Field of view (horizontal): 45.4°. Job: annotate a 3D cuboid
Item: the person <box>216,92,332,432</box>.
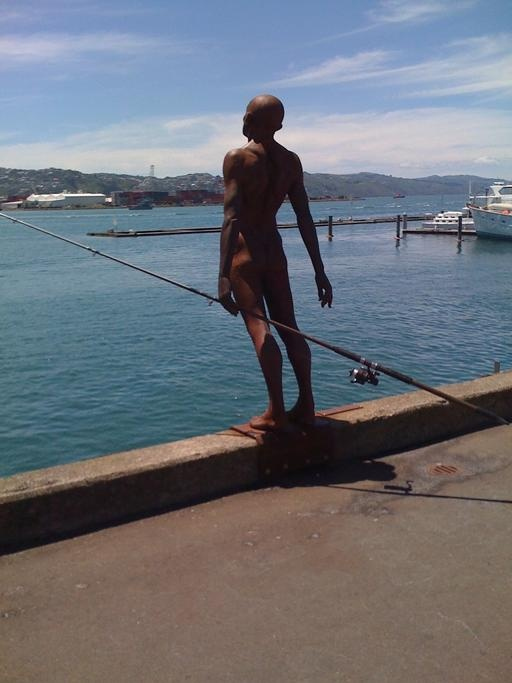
[{"bbox_3d":[0.100,-0.461,3.594,0.668,1.940,0.847,-1,9,6],"label":"person"}]
